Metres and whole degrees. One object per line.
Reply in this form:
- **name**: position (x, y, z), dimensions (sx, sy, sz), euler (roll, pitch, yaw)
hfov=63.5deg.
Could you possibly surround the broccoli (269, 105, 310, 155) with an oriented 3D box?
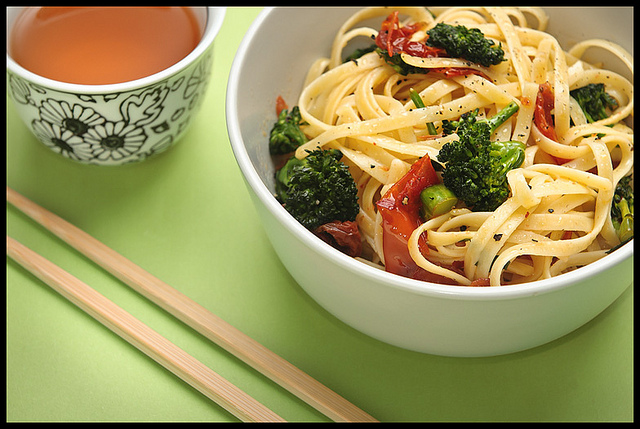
- **broccoli**: position (-0.103, -0.265, 1.686), dimensions (0.137, 0.066, 0.151), euler (4, 76, 1)

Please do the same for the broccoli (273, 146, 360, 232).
- **broccoli**: position (-0.006, -0.089, 1.614), dimensions (0.265, 0.246, 0.224), euler (-1, 14, 2)

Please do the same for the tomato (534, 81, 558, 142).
- **tomato**: position (0.689, -0.323, 1.585), dimensions (0.040, 0.146, 0.114), euler (16, 31, 26)

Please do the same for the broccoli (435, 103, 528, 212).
- **broccoli**: position (0.463, -0.177, 1.539), dimensions (0.238, 0.170, 0.306), euler (-8, 56, 5)

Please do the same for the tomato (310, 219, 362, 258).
- **tomato**: position (0.046, 0.052, 1.541), dimensions (0.149, 0.095, 0.093), euler (-18, 28, -40)

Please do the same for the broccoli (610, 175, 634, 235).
- **broccoli**: position (0.896, -0.024, 1.522), dimensions (0.109, 0.050, 0.143), euler (13, 70, -30)

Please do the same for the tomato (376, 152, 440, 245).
- **tomato**: position (0.247, -0.043, 1.452), dimensions (0.056, 0.167, 0.247), euler (12, 60, 52)

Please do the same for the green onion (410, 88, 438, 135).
- **green onion**: position (0.318, -0.311, 1.588), dimensions (0.018, 0.028, 0.168), euler (-28, 71, -11)

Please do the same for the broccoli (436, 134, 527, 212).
- **broccoli**: position (0.441, -0.117, 1.498), dimensions (0.135, 0.198, 0.285), euler (0, 16, -13)
